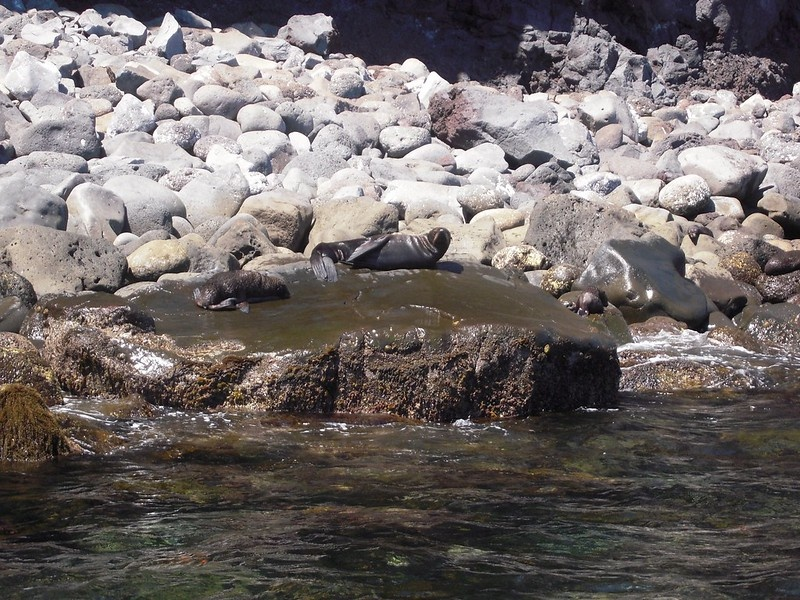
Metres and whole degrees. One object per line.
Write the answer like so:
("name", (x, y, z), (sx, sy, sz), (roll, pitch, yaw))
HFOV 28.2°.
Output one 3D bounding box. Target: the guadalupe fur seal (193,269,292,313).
("guadalupe fur seal", (-3.037, -0.241, 30.508), (1.957, 0.501, 1.098), (-6, 26, -18))
